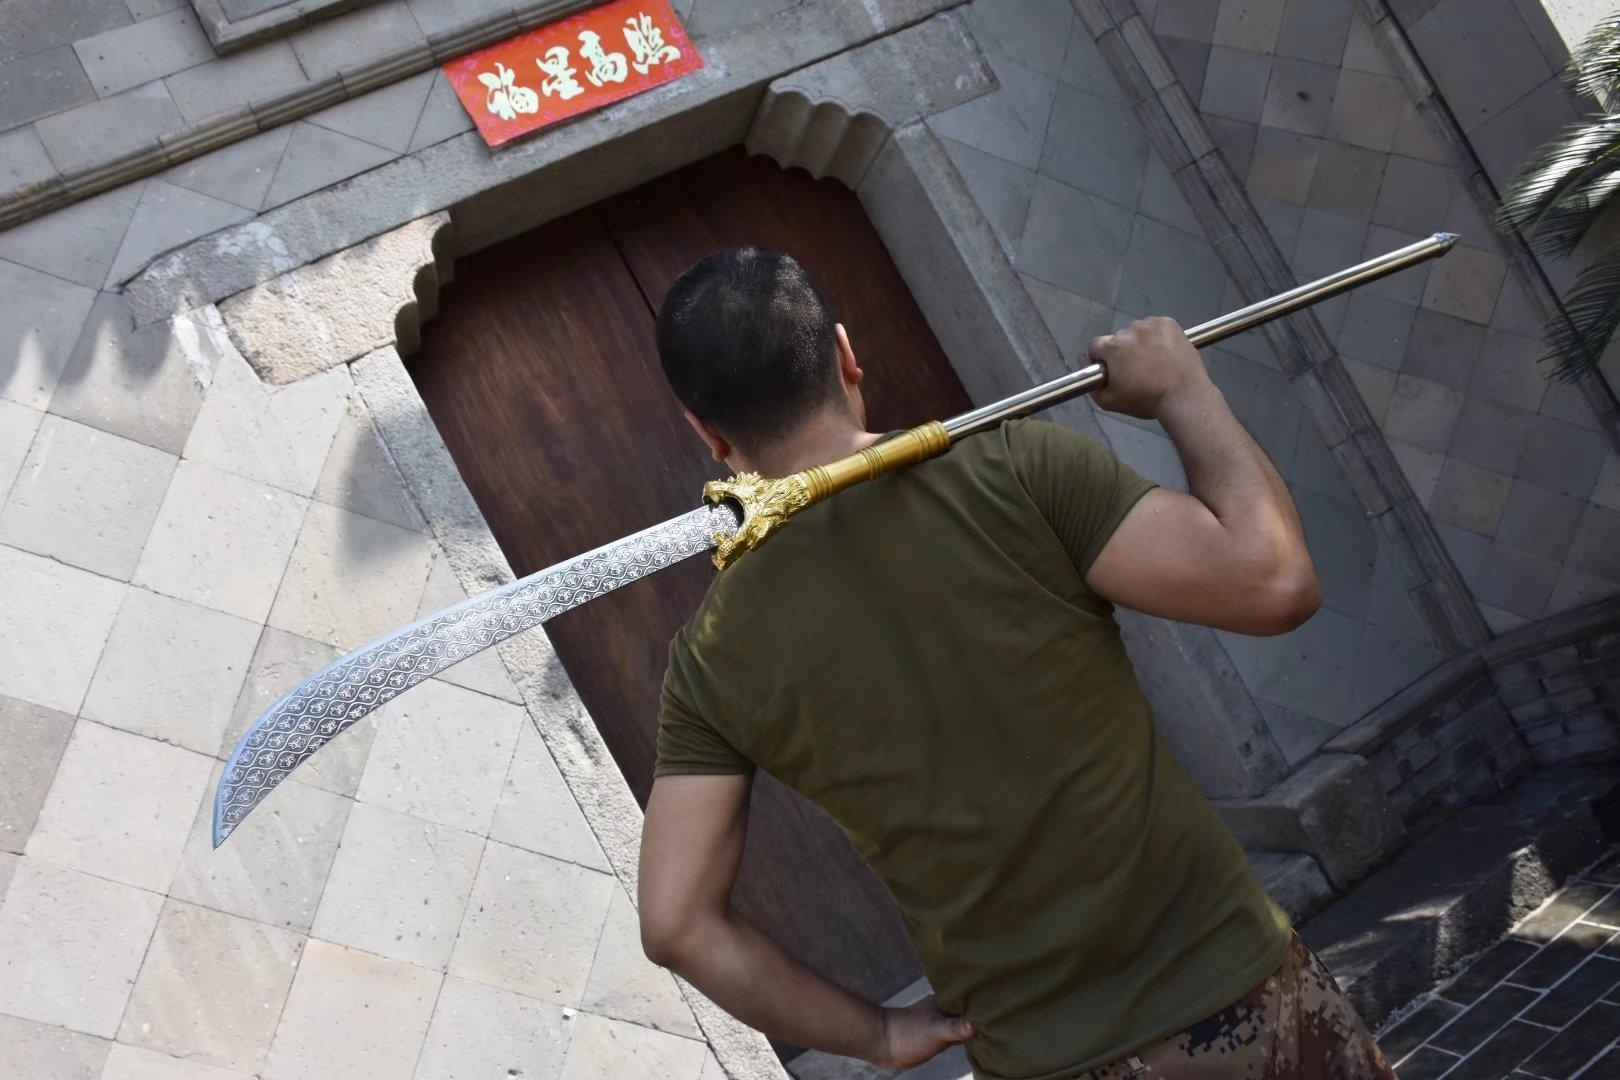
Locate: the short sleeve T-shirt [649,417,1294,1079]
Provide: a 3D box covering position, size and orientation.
[{"bbox_3d":[0.507,0.675,5.199,1.651,1.718,0.979,-31,3,18],"label":"short sleeve T-shirt"}]
